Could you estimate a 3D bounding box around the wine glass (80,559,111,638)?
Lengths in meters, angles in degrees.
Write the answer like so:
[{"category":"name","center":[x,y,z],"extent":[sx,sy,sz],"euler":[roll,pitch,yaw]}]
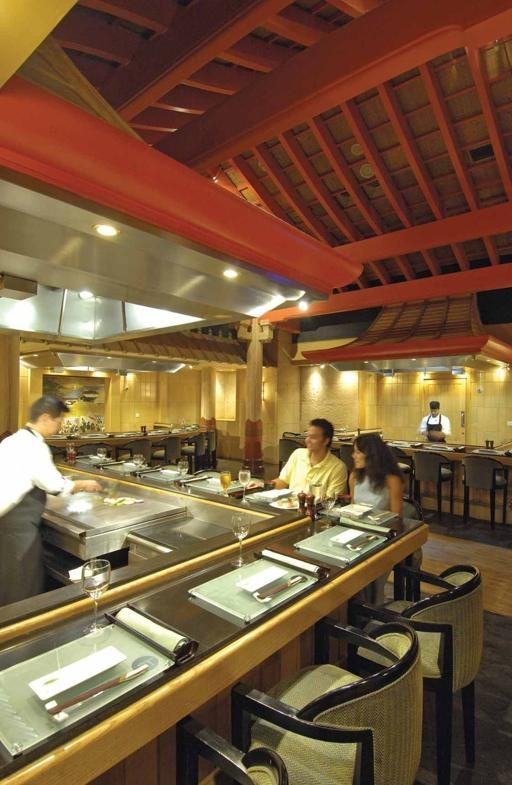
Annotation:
[{"category":"wine glass","center":[-0.445,0.576,1.519],"extent":[0.070,0.186,0.071],"euler":[1,2,-10]}]
